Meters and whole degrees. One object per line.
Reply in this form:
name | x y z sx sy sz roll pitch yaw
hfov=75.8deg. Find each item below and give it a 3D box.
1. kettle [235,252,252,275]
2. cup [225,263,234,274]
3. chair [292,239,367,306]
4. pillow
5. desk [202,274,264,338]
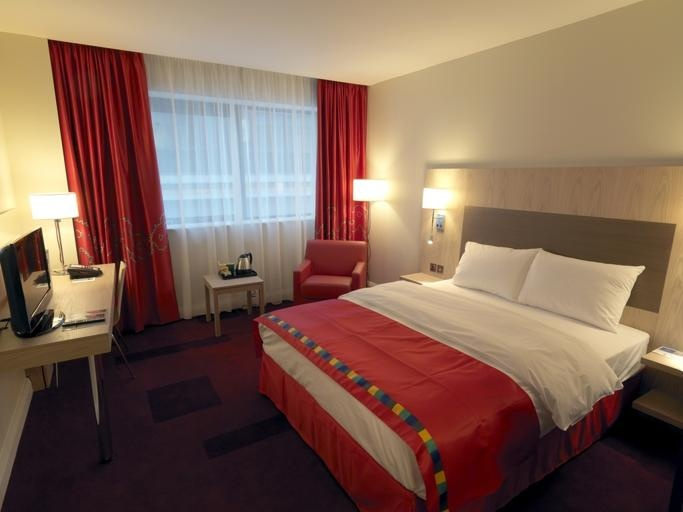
kettle | -1.235 0.099 5.554 0.218 0.234 0.295 -4 13 -13
cup | -1.374 0.158 5.432 0.097 0.120 0.109 -2 13 -7
chair | -0.156 0.167 5.825 0.941 1.127 0.773 3 5 14
pillow | 1.941 0.253 4.271 1.584 0.563 0.409 12 18 42
desk | -1.322 0.470 5.471 0.719 0.722 0.735 -7 17 -25
